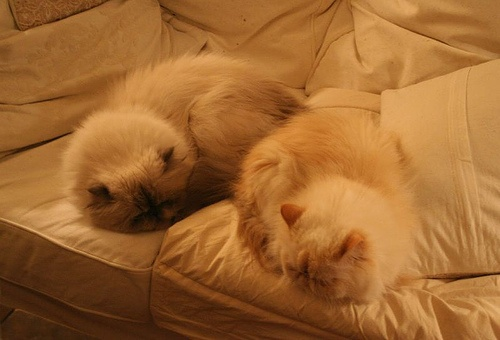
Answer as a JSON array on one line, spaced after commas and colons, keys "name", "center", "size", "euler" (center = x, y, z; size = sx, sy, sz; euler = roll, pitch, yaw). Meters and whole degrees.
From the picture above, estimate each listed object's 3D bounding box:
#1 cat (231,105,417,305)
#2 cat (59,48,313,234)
[{"name": "cat", "center": [0.248, 0.084, 1.742], "size": [0.547, 0.230, 0.690], "euler": [-2, 52, 0]}, {"name": "cat", "center": [-0.222, -0.097, 1.870], "size": [0.596, 0.230, 0.467], "euler": [-42, 85, 0]}]
